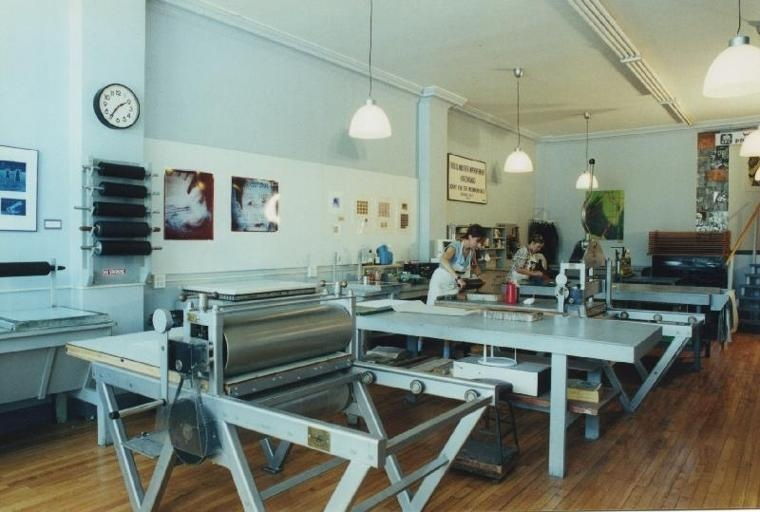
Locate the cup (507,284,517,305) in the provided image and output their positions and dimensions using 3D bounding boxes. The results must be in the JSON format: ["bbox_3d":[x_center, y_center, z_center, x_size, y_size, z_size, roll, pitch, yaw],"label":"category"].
[{"bbox_3d":[1.354,0.379,5.857,0.123,0.214,0.180,0,4,14],"label":"cup"}]

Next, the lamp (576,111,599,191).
[{"bbox_3d":[4.120,-1.989,11.188,0.432,1.327,1.902,1,4,20],"label":"lamp"}]

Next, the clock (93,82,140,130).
[{"bbox_3d":[-2.674,-1.514,5.647,0.135,0.579,0.543,0,1,39],"label":"clock"}]

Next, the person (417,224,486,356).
[{"bbox_3d":[0.933,0.078,7.018,0.832,0.946,0.715,-2,4,-18],"label":"person"}]
